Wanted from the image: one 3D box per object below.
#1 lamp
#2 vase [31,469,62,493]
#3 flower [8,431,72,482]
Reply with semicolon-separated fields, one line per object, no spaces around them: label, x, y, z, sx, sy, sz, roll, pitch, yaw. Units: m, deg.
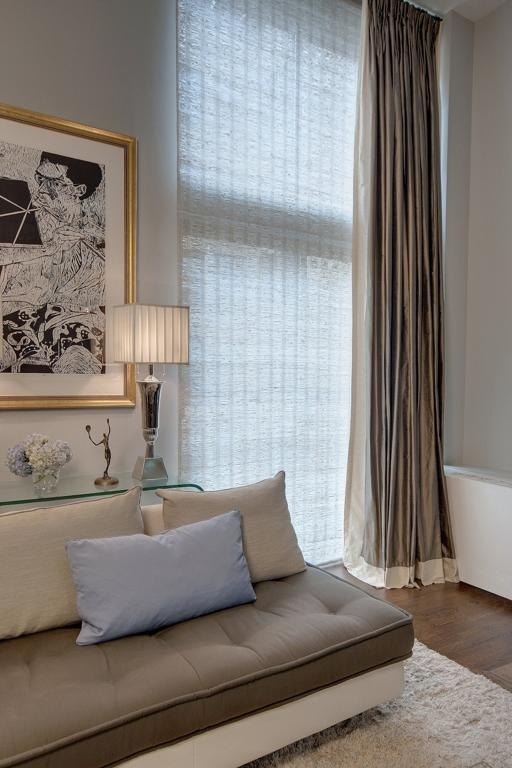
lamp;-0.443;0.040;2.306;0.271;0.714;0.365;1;0;-30
vase;-0.775;0.352;2.094;0.079;0.100;0.081;5;6;41
flower;-0.776;0.263;2.017;0.151;0.129;0.190;0;2;-15
